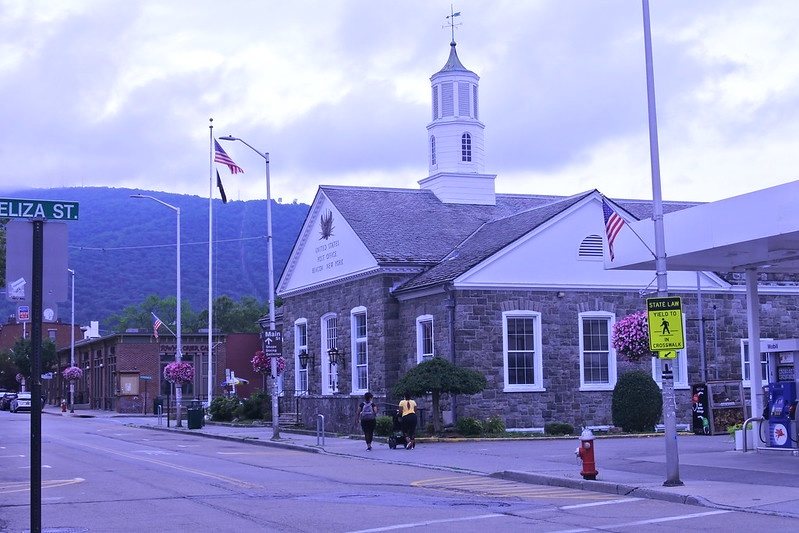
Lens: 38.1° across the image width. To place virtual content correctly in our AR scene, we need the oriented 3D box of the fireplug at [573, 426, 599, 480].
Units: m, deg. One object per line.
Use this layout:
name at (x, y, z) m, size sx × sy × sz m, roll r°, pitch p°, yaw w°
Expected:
fireplug at (5.216, 5.183, 32.258) m, size 0.524 × 1.425 × 1.964 m, roll -3°, pitch -10°, yaw 9°

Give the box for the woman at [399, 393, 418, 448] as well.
woman at (0.275, 5.430, 40.700) m, size 0.541 × 1.859 × 0.795 m, roll -1°, pitch -10°, yaw -2°

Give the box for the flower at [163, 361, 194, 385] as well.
flower at (-11.266, 5.309, 58.887) m, size 1.615 × 1.406 × 1.626 m, roll -1°, pitch 3°, yaw -4°

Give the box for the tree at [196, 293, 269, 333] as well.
tree at (-20.294, 5.849, 142.630) m, size 7.406 × 6.187 × 6.237 m, roll -6°, pitch -13°, yaw 14°

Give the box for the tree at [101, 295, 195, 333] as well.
tree at (-32.614, 5.988, 149.310) m, size 6.443 × 4.128 × 6.779 m, roll 3°, pitch -8°, yaw -24°

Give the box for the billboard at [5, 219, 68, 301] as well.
billboard at (-7.585, -0.145, 24.198) m, size 1.691 × 2.297 × 0.254 m, roll 0°, pitch -6°, yaw -20°

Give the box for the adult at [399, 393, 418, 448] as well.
adult at (0.275, 5.428, 40.692) m, size 0.541 × 1.859 × 0.779 m, roll -1°, pitch -10°, yaw -2°

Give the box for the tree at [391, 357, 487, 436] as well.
tree at (1.593, 4.711, 43.049) m, size 2.953 × 2.591 × 3.100 m, roll -1°, pitch -8°, yaw 5°

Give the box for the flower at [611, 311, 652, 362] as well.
flower at (7.840, 2.221, 40.891) m, size 1.391 × 1.282 × 1.391 m, roll 7°, pitch 16°, yaw 39°

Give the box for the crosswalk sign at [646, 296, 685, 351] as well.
crosswalk sign at (7.058, 1.492, 30.845) m, size 0.869 × 1.477 × 0.637 m, roll -3°, pitch -10°, yaw 9°
